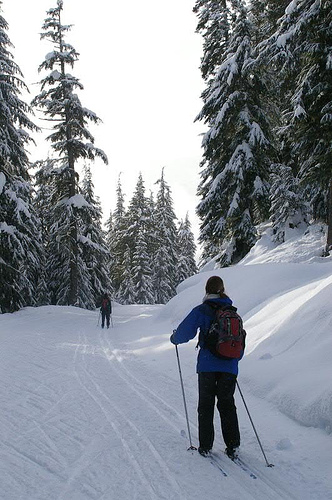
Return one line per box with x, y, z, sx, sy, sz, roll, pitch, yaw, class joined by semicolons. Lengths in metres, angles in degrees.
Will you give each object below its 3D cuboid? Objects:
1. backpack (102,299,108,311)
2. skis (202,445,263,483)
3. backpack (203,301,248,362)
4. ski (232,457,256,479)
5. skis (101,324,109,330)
-2.171;1.933;17.337;0.190;0.353;0.394;0;-1;-8;backpack
0.774;2.176;5.028;0.186;0.026;0.688;-1;-2;-17;skis
0.671;0.877;5.326;0.390;0.588;0.289;10;-6;-28;backpack
0.783;2.180;4.919;0.053;0.071;0.539;-7;-9;-11;ski
-2.137;2.658;17.118;0.231;0.285;0.126;3;-3;-26;skis
